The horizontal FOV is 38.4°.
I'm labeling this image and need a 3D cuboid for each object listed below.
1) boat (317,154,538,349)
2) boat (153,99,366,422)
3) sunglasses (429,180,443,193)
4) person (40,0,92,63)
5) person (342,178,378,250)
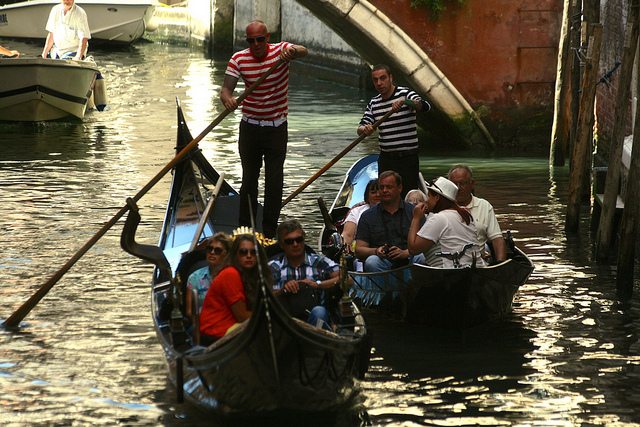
[{"bbox_3d":[1.087,0.428,9.204,1.439,0.810,2.619,-3,15,-8],"label":"boat"},{"bbox_3d":[-0.790,0.537,8.317,1.140,1.189,3.655,-7,19,-12],"label":"boat"},{"bbox_3d":[1.026,-0.243,8.098,0.024,0.089,0.092,-35,-3,15],"label":"sunglasses"},{"bbox_3d":[-4.390,-3.115,15.863,0.787,1.005,1.195,-1,4,-16],"label":"person"},{"bbox_3d":[0.361,0.021,8.944,0.234,0.823,0.281,2,-34,26],"label":"person"}]
